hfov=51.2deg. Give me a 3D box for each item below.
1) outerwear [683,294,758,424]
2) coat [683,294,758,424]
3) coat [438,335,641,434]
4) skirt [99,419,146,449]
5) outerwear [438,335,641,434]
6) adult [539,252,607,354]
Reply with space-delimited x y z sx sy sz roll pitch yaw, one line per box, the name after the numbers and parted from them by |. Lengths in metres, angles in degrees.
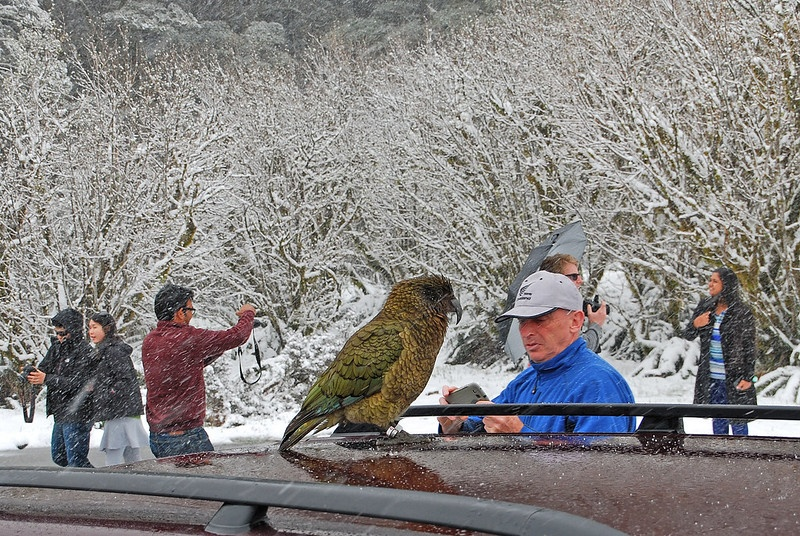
4.708 1.311 11.988 0.733 1.365 1.316 -1 -1 -5 | outerwear
4.709 1.311 11.992 0.735 1.365 1.323 -1 -1 -5 | coat
1.442 1.192 8.271 1.390 0.950 1.149 -7 -10 -11 | coat
-3.737 2.205 11.157 0.567 0.493 0.404 7 -12 -39 | skirt
1.438 1.182 8.258 1.390 0.950 1.149 -7 -10 -11 | outerwear
2.268 0.360 10.432 0.798 1.316 0.674 -17 -1 36 | adult
